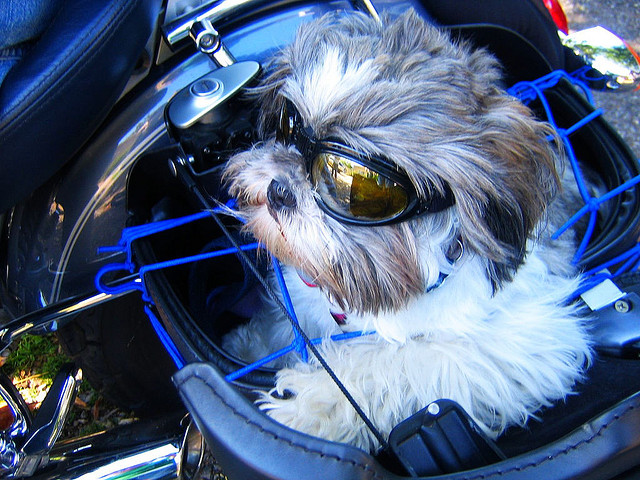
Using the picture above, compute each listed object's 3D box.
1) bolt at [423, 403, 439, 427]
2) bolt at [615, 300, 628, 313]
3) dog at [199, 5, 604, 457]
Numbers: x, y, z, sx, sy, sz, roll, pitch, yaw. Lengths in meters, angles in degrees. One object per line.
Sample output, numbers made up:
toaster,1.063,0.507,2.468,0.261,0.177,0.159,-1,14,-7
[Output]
bolt,0.229,0.362,1.168,0.045,0.027,0.026,-30,28,-28
bolt,0.774,0.169,1.439,0.028,0.021,0.024,0,27,30
dog,0.125,-0.111,1.813,1.144,1.187,1.121,-6,48,-15
